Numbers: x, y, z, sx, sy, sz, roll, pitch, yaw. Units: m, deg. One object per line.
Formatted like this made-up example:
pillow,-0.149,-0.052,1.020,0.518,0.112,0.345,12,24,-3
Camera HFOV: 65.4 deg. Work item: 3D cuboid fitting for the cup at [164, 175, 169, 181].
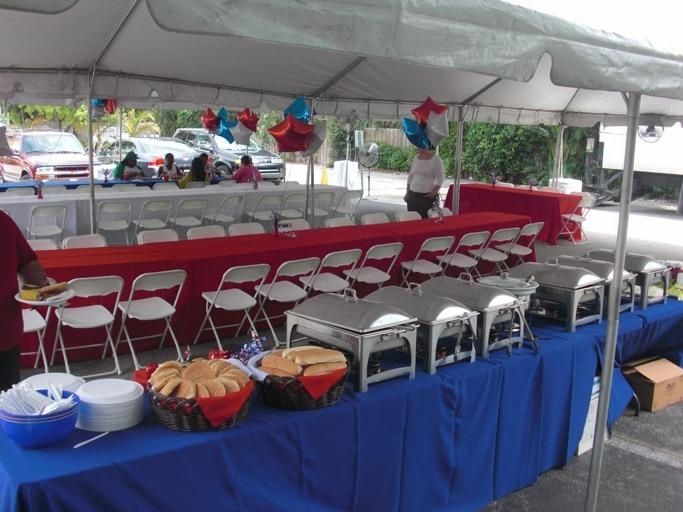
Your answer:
cup,-3.354,-1.485,10.173,0.117,0.118,0.114,2,14,-1

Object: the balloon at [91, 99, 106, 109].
balloon,-4.737,-2.965,10.398,0.223,0.166,0.674,-7,13,-28

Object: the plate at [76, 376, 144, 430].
plate,-0.983,0.621,2.248,0.269,0.180,0.161,-7,13,-27

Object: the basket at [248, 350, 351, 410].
basket,-0.207,0.558,2.489,0.416,0.183,0.311,-1,18,-32

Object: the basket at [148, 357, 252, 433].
basket,-0.615,0.596,2.297,0.372,0.222,0.343,9,15,38

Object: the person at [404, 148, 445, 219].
person,1.146,-1.039,7.592,0.503,1.028,0.476,7,17,3

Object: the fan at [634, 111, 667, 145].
fan,5.564,-2.266,9.561,0.352,0.428,2.599,6,13,29

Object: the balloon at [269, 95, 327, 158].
balloon,-0.602,-1.724,7.105,0.722,0.812,0.724,-2,12,-7

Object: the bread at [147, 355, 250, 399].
bread,-0.623,0.506,2.316,0.383,0.125,0.285,-3,11,-39

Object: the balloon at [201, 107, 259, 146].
balloon,-1.879,-2.297,9.460,1.117,0.981,0.920,-4,18,-30

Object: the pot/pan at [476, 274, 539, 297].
pot/pan,1.042,0.174,3.272,0.209,0.069,0.198,2,12,21

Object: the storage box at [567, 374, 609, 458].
storage box,1.600,1.039,3.527,0.235,0.466,0.176,-5,16,-42

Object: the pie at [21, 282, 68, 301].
pie,-1.468,0.168,2.566,0.141,0.044,0.145,5,7,35
